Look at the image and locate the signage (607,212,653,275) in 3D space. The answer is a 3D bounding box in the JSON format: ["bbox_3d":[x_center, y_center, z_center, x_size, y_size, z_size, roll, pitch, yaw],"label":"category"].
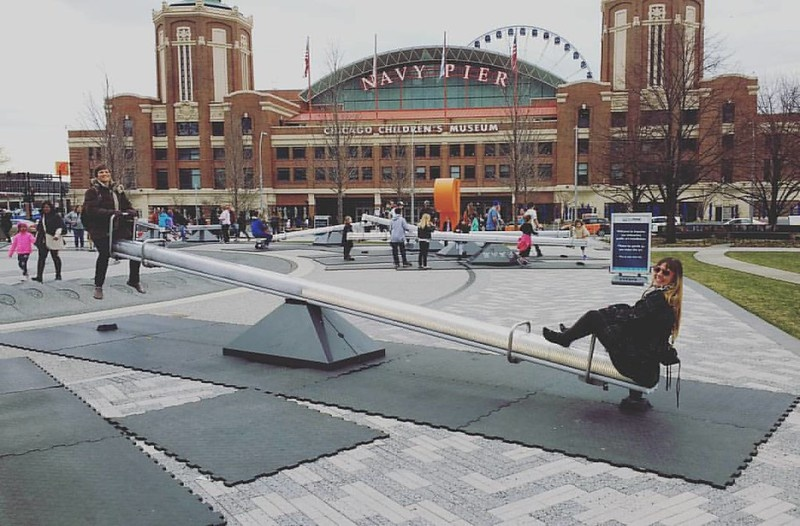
[{"bbox_3d":[5.881,-0.483,20.832,1.064,1.546,0.031,1,1,-6],"label":"signage"}]

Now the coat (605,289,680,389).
[{"bbox_3d":[3.254,1.032,11.012,0.988,1.299,0.373,-2,6,7],"label":"coat"}]

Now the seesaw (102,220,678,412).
[{"bbox_3d":[-0.110,0.943,15.795,9.393,2.656,1.383,13,15,25],"label":"seesaw"}]

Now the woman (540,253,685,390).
[{"bbox_3d":[3.110,0.603,11.609,1.086,1.594,2.068,-3,13,-44],"label":"woman"}]

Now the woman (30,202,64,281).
[{"bbox_3d":[-9.133,-0.548,21.116,0.994,2.051,1.027,-1,-1,18],"label":"woman"}]

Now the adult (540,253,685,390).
[{"bbox_3d":[3.066,0.632,11.493,1.967,1.476,0.963,13,6,34],"label":"adult"}]

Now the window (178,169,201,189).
[{"bbox_3d":[-20.389,-8.169,79.442,2.113,1.797,0.205,2,6,12],"label":"window"}]
